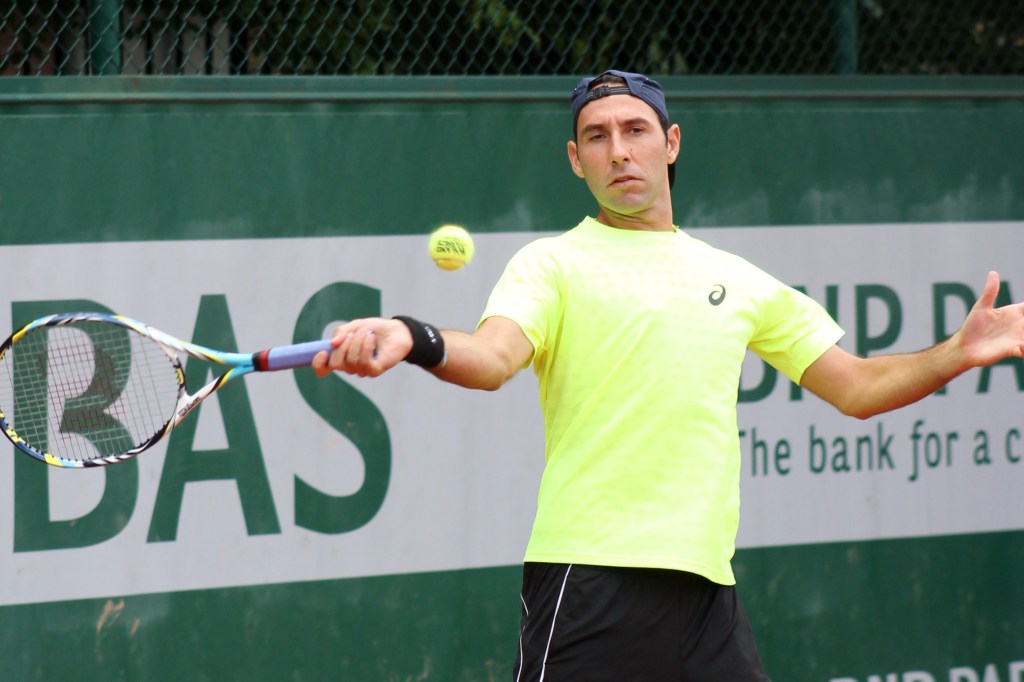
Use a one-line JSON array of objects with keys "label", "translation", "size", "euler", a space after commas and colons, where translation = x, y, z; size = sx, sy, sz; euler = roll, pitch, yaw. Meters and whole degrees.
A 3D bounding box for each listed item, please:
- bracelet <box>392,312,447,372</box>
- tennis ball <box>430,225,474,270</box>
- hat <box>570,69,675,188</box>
[{"label": "bracelet", "translation": [-0.318, 0.022, 5.234], "size": [0.099, 0.154, 0.191], "euler": [-31, 47, -18]}, {"label": "tennis ball", "translation": [-0.263, -0.410, 6.431], "size": [0.157, 0.196, 0.184], "euler": [6, -30, -3]}, {"label": "hat", "translation": [0.419, -0.851, 5.687], "size": [0.312, 0.502, 0.191], "euler": [-2, 5, 0]}]
